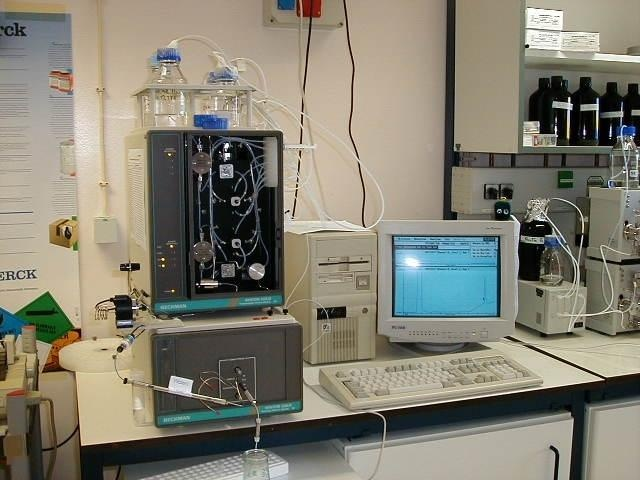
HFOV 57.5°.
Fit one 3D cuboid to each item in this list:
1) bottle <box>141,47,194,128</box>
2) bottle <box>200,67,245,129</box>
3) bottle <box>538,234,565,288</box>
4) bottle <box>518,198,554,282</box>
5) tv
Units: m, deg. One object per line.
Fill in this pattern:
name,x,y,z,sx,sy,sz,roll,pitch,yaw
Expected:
bottle,-0.547,-0.510,2.030,0.175,0.279,0.607,-6,8,-14
bottle,-0.323,-0.476,1.968,0.158,0.217,0.385,-5,7,-10
bottle,0.968,0.084,2.459,0.090,0.213,0.139,-1,8,21
bottle,0.964,0.011,2.589,0.199,0.378,0.199,6,7,-1
tv,0.489,0.167,2.368,0.553,0.504,0.322,0,2,-1
